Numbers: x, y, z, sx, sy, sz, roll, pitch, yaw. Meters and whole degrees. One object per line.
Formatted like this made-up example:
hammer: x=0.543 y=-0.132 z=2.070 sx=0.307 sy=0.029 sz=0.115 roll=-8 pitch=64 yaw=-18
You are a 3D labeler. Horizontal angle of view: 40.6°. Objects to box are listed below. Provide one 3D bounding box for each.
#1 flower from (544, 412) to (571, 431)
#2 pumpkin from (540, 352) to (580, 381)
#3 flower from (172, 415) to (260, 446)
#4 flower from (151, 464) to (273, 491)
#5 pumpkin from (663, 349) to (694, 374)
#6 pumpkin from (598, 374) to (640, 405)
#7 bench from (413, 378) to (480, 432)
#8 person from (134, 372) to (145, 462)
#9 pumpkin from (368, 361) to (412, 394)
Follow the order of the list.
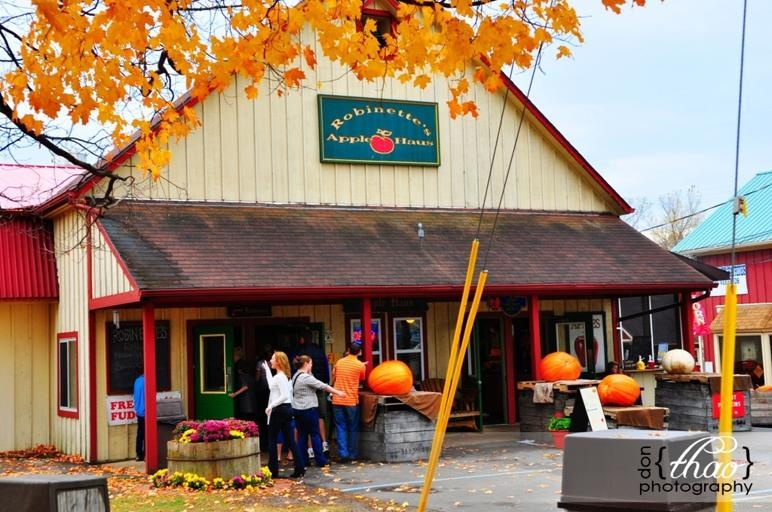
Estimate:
flower: x=3.603 y=3.439 z=21.715 sx=0.423 sy=0.372 sz=0.534 roll=-2 pitch=-10 yaw=-6
pumpkin: x=3.817 y=2.419 z=22.924 sx=0.832 sy=0.653 sz=0.656 roll=-4 pitch=-10 yaw=7
flower: x=-3.090 y=3.184 z=19.039 sx=1.503 sy=0.398 sz=0.733 roll=-2 pitch=-10 yaw=-8
flower: x=-3.117 y=4.006 z=18.781 sx=2.052 sy=0.390 sz=0.708 roll=-1 pitch=-10 yaw=-10
pumpkin: x=6.682 y=2.395 z=23.863 sx=0.561 sy=0.480 sz=0.569 roll=0 pitch=-3 yaw=4
pumpkin: x=4.940 y=2.883 z=22.291 sx=0.701 sy=0.615 sz=0.704 roll=-7 pitch=29 yaw=-1
bench: x=1.499 y=3.558 z=25.038 sx=1.140 sy=1.217 sz=1.414 roll=2 pitch=-8 yaw=-24
person: x=-5.105 y=3.328 z=21.705 sx=0.202 sy=1.814 sz=0.894 roll=-1 pitch=-10 yaw=-15
pumpkin: x=0.123 y=2.486 z=21.466 sx=0.767 sy=0.617 sz=0.587 roll=-4 pitch=1 yaw=22
